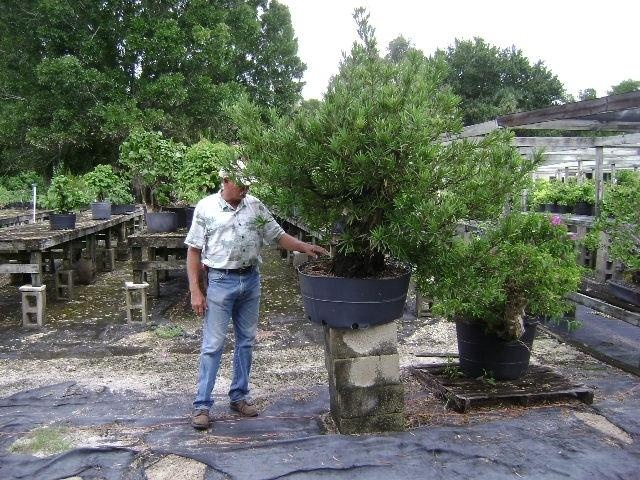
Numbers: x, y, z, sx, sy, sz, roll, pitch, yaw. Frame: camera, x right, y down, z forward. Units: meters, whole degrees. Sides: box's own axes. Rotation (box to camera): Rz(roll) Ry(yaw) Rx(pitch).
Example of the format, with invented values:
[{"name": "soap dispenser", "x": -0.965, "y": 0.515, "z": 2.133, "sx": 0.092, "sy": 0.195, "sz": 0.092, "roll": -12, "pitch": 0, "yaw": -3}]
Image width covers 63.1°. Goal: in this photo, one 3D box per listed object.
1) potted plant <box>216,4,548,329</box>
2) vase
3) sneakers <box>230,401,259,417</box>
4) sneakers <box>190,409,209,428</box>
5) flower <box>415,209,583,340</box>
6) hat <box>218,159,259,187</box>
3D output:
[{"name": "potted plant", "x": 0.601, "y": -0.568, "z": 4.465, "sx": 2.663, "sy": 2.368, "sz": 2.186, "roll": -2, "pitch": 1, "yaw": -15}, {"name": "vase", "x": 1.597, "y": 0.984, "z": 4.598, "sx": 0.670, "sy": 0.418, "sz": 0.650, "roll": 2, "pitch": 33, "yaw": 29}, {"name": "sneakers", "x": -0.646, "y": 1.404, "z": 4.361, "sx": 0.228, "sy": 0.081, "sz": 0.104, "roll": 1, "pitch": 1, "yaw": 34}, {"name": "sneakers", "x": -0.946, "y": 1.405, "z": 4.072, "sx": 0.130, "sy": 0.129, "sz": 0.110, "roll": -3, "pitch": 9, "yaw": -14}, {"name": "flower", "x": 1.508, "y": 0.282, "z": 4.268, "sx": 1.303, "sy": 0.913, "sz": 1.347, "roll": 4, "pitch": 11, "yaw": 32}, {"name": "hat", "x": -0.604, "y": -0.486, "z": 3.749, "sx": 0.240, "sy": 0.146, "sz": 0.224, "roll": 5, "pitch": 7, "yaw": -31}]
